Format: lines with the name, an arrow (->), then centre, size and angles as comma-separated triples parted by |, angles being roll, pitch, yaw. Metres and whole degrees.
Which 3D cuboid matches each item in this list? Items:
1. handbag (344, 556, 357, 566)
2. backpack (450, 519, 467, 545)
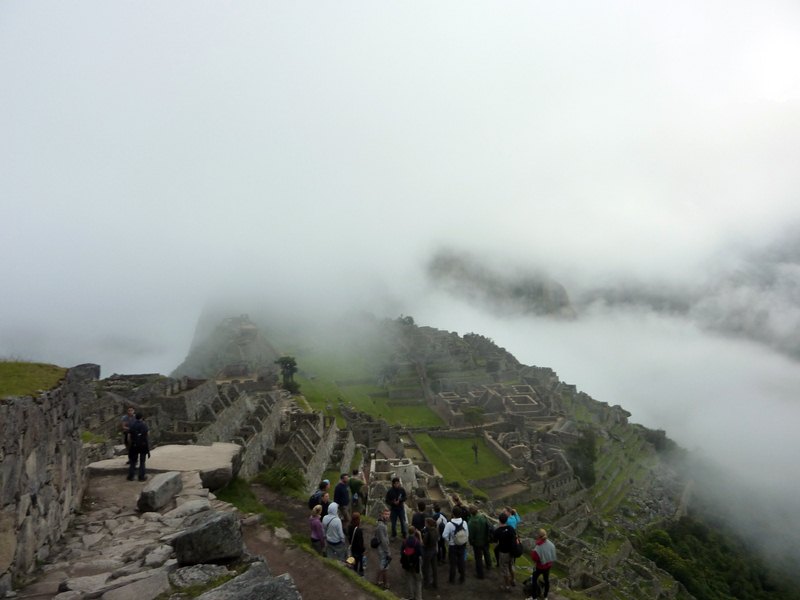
handbag -> -1.869, 10.322, 17.197 | 0.333, 0.391, 0.172 | 1, -4, -28
backpack -> 2.439, 9.579, 18.013 | 0.675, 1.088, 0.370 | -1, -4, -9
